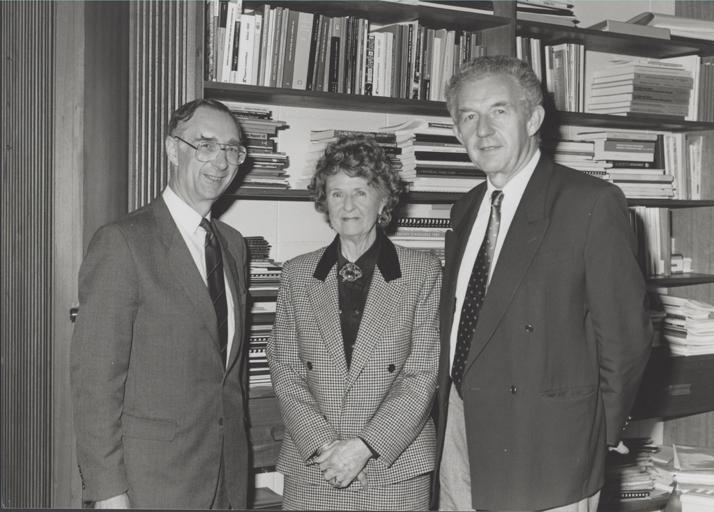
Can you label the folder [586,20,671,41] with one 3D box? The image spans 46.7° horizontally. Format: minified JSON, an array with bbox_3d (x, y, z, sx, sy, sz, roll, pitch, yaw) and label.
[{"bbox_3d":[1.565,-1.292,4.725,0.230,0.046,0.201,0,2,-34],"label":"folder"}]
